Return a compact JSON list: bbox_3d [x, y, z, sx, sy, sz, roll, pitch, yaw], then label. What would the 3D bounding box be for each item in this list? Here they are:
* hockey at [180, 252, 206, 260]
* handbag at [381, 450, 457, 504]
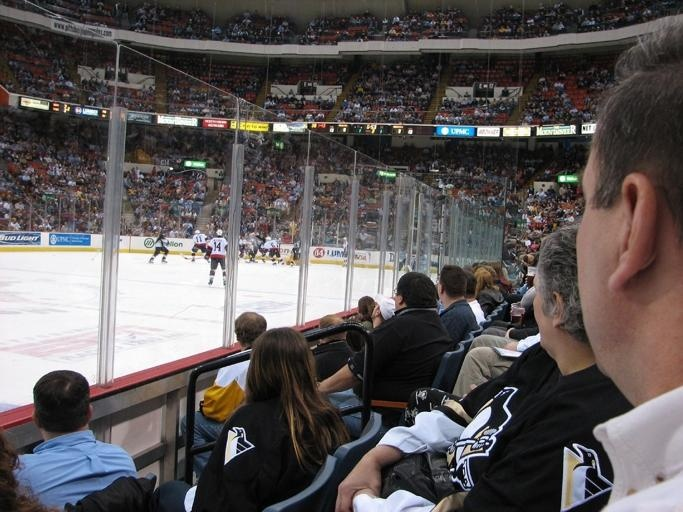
[{"bbox_3d":[-1.024,-0.001,4.212,0.171,0.020,0.039,-5,2,-42],"label":"hockey"},{"bbox_3d":[0.282,0.796,2.213,0.170,0.081,0.145,-5,6,-27],"label":"handbag"}]
